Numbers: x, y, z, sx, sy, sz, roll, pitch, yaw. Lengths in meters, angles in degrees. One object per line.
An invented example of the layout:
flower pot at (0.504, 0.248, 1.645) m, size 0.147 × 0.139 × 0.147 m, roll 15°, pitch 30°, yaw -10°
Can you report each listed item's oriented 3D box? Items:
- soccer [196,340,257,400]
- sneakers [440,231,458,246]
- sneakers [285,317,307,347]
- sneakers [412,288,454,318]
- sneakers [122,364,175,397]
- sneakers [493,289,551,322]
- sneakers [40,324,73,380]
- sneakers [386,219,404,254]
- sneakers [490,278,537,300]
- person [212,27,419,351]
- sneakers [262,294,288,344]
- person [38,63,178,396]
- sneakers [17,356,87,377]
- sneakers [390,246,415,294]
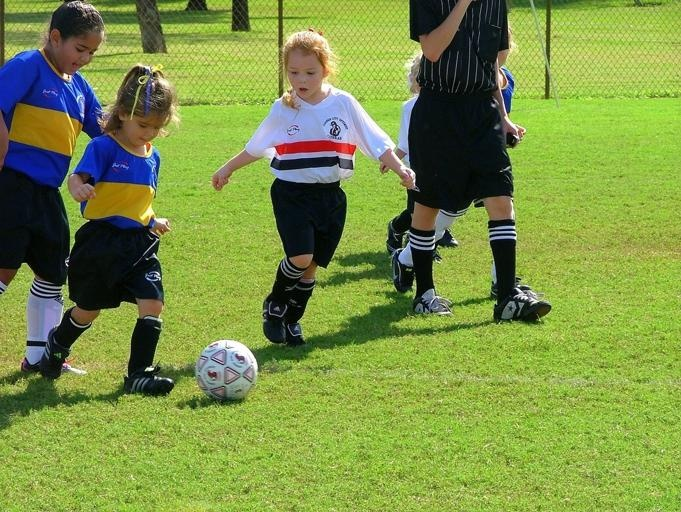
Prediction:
soccer at (-0.558, 0.597, 4.334) m, size 0.282 × 0.290 × 0.269 m, roll 24°, pitch -23°, yaw -39°
sneakers at (0.852, -0.134, 6.549) m, size 0.081 × 0.071 × 0.159 m, roll 0°, pitch 0°, yaw -10°
sneakers at (-0.260, 0.446, 4.877) m, size 0.105 × 0.143 × 0.054 m, roll -7°, pitch -4°, yaw -20°
sneakers at (0.596, 0.300, 5.292) m, size 0.132 × 0.114 × 0.240 m, roll -3°, pitch 3°, yaw -31°
sneakers at (-0.979, 0.651, 4.274) m, size 0.315 × 0.153 × 0.114 m, roll -3°, pitch -6°, yaw 22°
sneakers at (1.083, 0.292, 5.058) m, size 0.392 × 0.231 × 0.148 m, roll -3°, pitch 7°, yaw 15°
sneakers at (-1.523, 0.549, 4.479) m, size 0.112 × 0.338 × 0.137 m, roll 31°, pitch -35°, yaw -30°
sneakers at (0.422, -0.160, 6.438) m, size 0.117 × 0.287 × 0.095 m, roll 4°, pitch 16°, yaw 42°
sneakers at (1.099, 0.215, 5.376) m, size 0.353 × 0.161 × 0.123 m, roll 2°, pitch 7°, yaw 27°
person at (-0.177, -0.382, 4.777) m, size 0.972 × 1.788 × 0.393 m, roll 1°, pitch 10°, yaw -10°
sneakers at (-0.386, 0.374, 4.871) m, size 0.109 × 0.311 × 0.130 m, roll 1°, pitch -37°, yaw -23°
person at (-1.164, -0.142, 4.279) m, size 0.657 × 1.666 × 0.473 m, roll 0°, pitch 10°, yaw -14°
sneakers at (-1.570, 0.601, 4.614) m, size 0.381 × 0.155 × 0.132 m, roll 2°, pitch 7°, yaw -4°
sneakers at (0.419, 0.106, 5.787) m, size 0.109 × 0.335 × 0.146 m, roll -7°, pitch 9°, yaw -15°
